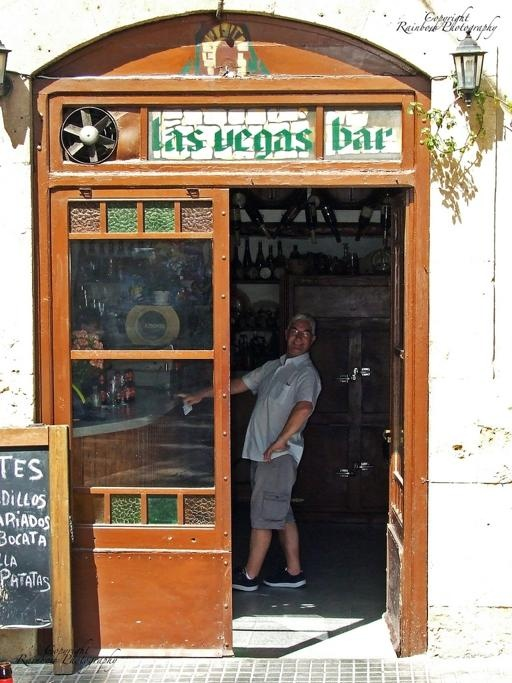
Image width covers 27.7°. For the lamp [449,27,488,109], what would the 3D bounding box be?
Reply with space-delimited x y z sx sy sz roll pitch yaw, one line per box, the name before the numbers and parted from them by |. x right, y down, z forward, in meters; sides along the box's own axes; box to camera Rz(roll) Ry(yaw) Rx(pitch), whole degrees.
lamp | 0.988 -1.275 4.818 0.139 0.331 0.135 3 7 11

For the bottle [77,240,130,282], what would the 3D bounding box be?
bottle | -0.750 -0.407 5.066 0.249 0.144 0.010 0 3 -3

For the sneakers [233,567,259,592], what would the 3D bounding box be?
sneakers | -0.056 1.401 6.174 0.152 0.120 0.139 1 6 0

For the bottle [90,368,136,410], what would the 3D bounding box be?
bottle | -0.701 0.229 5.103 0.219 0.170 0.197 0 7 3

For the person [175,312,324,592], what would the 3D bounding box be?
person | 0.108 0.649 6.217 0.534 1.610 0.552 1 6 0

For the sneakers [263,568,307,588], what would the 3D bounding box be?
sneakers | 0.180 1.410 6.206 0.258 0.096 0.092 2 -4 3

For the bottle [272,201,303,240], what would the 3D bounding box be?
bottle | 0.260 -0.948 8.105 0.123 0.149 0.463 15 -38 -13
